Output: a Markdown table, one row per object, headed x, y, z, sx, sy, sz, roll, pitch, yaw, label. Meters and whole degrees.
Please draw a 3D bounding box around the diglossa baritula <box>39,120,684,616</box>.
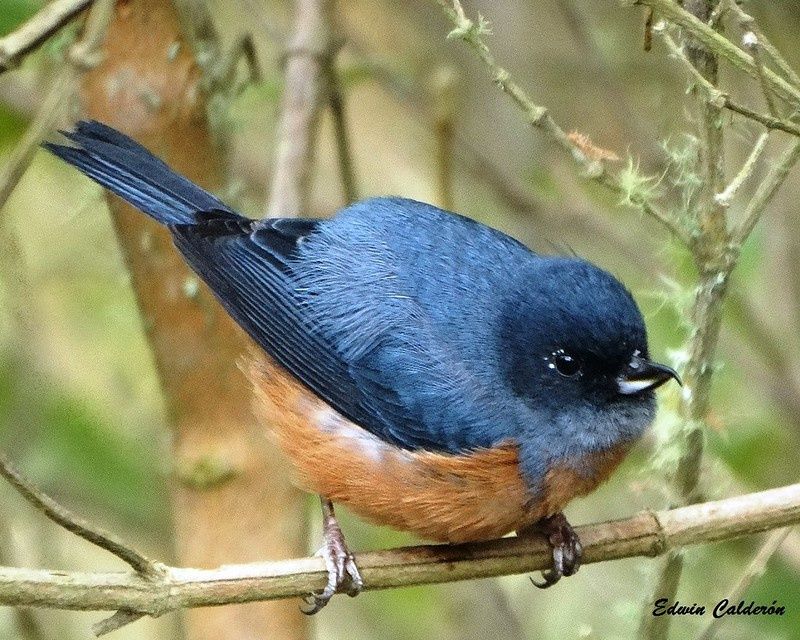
| x | y | z | sx | sy | sz | roll | pitch | yaw | label |
| --- | --- | --- | --- | --- | --- | --- | --- | --- | --- |
| -0.286 | -0.057 | 4.582 | 3.099 | 1.599 | 1.357 | 28 | 54 | 23 | diglossa baritula |
